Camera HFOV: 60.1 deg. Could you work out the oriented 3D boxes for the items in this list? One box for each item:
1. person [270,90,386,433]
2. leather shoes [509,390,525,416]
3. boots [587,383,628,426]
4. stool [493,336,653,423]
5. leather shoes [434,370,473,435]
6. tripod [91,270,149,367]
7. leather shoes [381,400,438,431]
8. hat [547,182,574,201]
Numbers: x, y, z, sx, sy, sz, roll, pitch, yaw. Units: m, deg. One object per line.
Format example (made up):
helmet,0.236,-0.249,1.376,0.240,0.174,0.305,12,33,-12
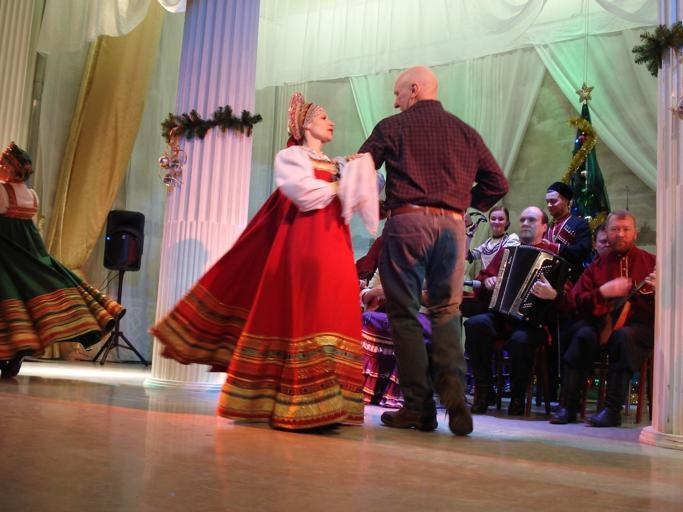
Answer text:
person,-0.119,0.160,3.522,0.668,1.667,0.424,4,-5,-3
leather shoes,1.456,1.207,4.843,0.154,0.185,0.086,5,-5,-9
boots,1.958,1.105,4.363,0.311,0.321,0.133,2,5,-16
stool,1.766,1.028,5.285,1.169,0.821,0.904,0,-1,3
leather shoes,0.659,0.860,3.489,0.241,0.376,0.223,3,-5,11
tripod,-2.967,0.828,8.085,0.691,1.252,1.292,6,-5,-22
leather shoes,0.409,0.970,3.683,0.343,0.171,0.153,1,-1,33
hat,2.198,-0.696,6.003,0.174,0.184,0.229,18,17,-24
